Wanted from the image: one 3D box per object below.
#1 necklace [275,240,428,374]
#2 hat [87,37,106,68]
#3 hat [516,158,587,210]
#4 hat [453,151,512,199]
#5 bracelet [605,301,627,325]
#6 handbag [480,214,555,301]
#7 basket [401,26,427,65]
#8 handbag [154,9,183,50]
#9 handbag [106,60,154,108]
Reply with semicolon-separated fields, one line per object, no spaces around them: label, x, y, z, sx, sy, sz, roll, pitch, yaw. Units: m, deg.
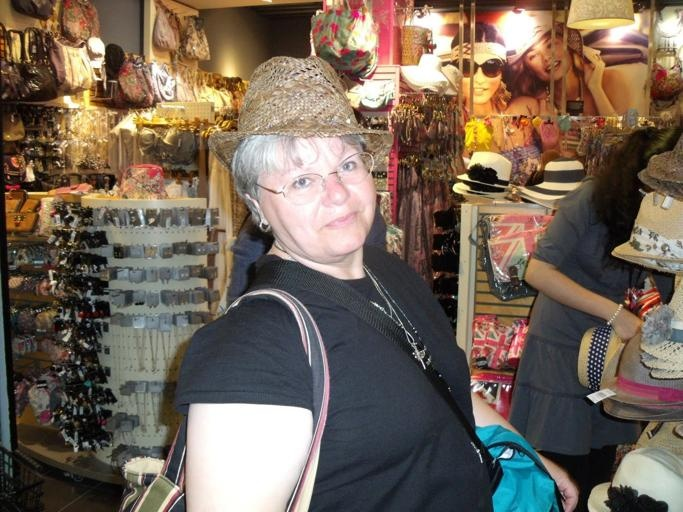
necklace;0.036;0.109;1.170;0.262;0.113;0.303;24;2;5
hat;-2.616;-2.173;5.560;0.102;0.293;0.212;3;15;26
hat;1.421;-0.498;3.509;0.515;0.211;0.424;-22;20;-39
hat;1.181;-0.688;4.509;0.393;0.274;0.479;4;14;-30
bracelet;1.110;0.221;2.122;0.020;0.082;0.077;42;-3;17
handbag;1.005;-0.014;3.138;0.463;0.490;0.142;2;5;6
basket;0.786;-2.205;5.427;0.348;0.379;0.297;-2;17;5
handbag;-2.249;-2.948;6.727;0.099;0.424;0.428;5;7;21
handbag;-2.263;-1.890;5.745;0.466;0.533;0.316;-1;15;-5
